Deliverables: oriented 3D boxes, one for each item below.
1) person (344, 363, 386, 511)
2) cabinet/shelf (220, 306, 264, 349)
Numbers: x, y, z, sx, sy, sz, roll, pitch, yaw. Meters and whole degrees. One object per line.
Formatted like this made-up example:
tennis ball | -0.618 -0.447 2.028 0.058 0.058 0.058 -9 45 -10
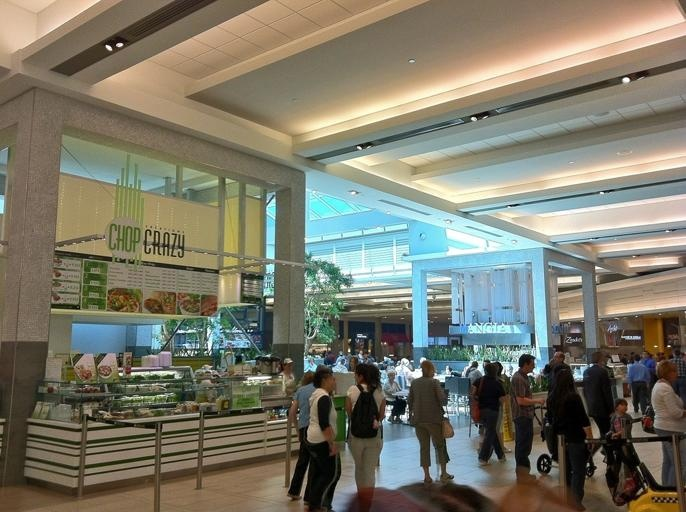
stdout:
person | 0.255 1.860 5.299 0.426 1.364 0.559 -1 -4 0
cabinet/shelf | -3.103 2.163 15.105 1.094 1.225 1.418 0 -4 -13
